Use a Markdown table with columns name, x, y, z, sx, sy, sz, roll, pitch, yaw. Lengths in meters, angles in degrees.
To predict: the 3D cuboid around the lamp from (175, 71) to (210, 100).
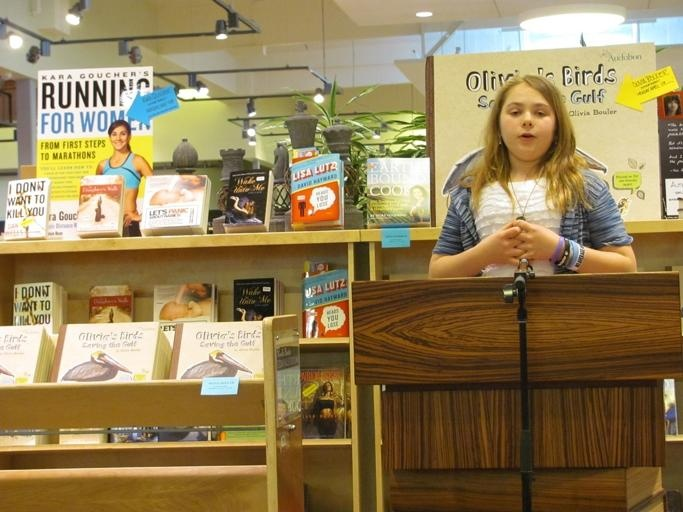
| name | x | y | z | sx | sy | sz | roll | pitch | yaw |
| --- | --- | --- | --- | --- | --- | --- | --- | --- | --- |
| lamp | -1.932 | -2.340 | 10.282 | 0.466 | 0.276 | 0.457 | 0 | -1 | -14 |

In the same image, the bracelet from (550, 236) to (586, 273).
| name | x | y | z | sx | sy | sz | roll | pitch | yaw |
| --- | --- | --- | --- | --- | --- | --- | --- | --- | --- |
| bracelet | 0.708 | -0.005 | 2.427 | 0.067 | 0.085 | 0.119 | 18 | 4 | 21 |

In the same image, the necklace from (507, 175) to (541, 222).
| name | x | y | z | sx | sy | sz | roll | pitch | yaw |
| --- | --- | --- | --- | --- | --- | --- | --- | --- | --- |
| necklace | 0.602 | -0.191 | 2.547 | 0.096 | 0.131 | 0.062 | -3 | -5 | 11 |

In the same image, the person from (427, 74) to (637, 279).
| name | x | y | z | sx | sy | sz | roll | pitch | yaw |
| --- | --- | --- | --- | --- | --- | --- | --- | --- | --- |
| person | 0.721 | -0.281 | 2.800 | 0.853 | 0.871 | 0.508 | -1 | -8 | 21 |

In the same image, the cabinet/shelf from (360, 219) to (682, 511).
| name | x | y | z | sx | sy | sz | roll | pitch | yaw |
| --- | --- | --- | --- | --- | --- | --- | --- | --- | --- |
| cabinet/shelf | 0.451 | 0.291 | 2.093 | 0.654 | 0.576 | 0.640 | -1 | -8 | 4 |
